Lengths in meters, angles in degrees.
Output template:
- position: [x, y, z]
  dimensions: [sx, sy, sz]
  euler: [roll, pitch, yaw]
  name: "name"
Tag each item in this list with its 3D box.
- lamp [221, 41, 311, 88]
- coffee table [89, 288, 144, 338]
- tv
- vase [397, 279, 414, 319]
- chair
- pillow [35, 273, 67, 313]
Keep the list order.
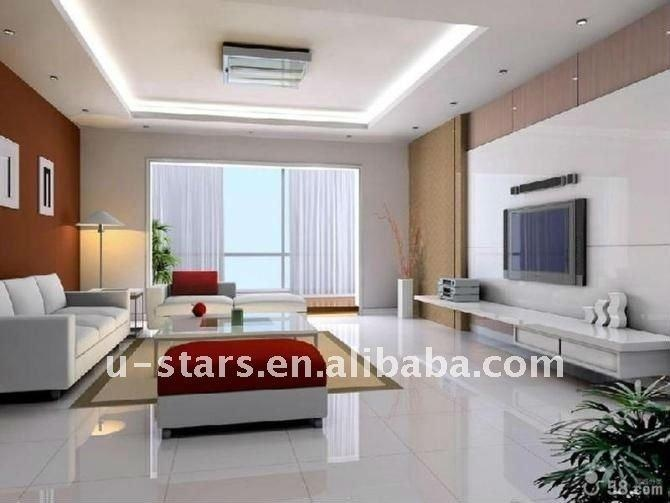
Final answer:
- position: [-0.781, -2.099, 5.650]
  dimensions: [0.961, 0.240, 0.764]
  euler: [-1, 4, -11]
  name: "lamp"
- position: [-3.088, 0.839, 7.323]
  dimensions: [0.848, 0.871, 0.727]
  euler: [1, 3, -5]
  name: "coffee table"
- position: [2.242, -0.080, 5.453]
  dimensions: [0.115, 0.846, 1.172]
  euler: [1, 0, -20]
  name: "tv"
- position: [1.169, 0.771, 8.198]
  dimensions: [0.251, 0.633, 0.261]
  euler: [-1, 3, -6]
  name: "vase"
- position: [-1.959, 0.652, 6.952]
  dimensions: [1.314, 0.743, 1.197]
  euler: [1, 1, -30]
  name: "chair"
- position: [-3.149, 0.468, 5.544]
  dimensions: [0.127, 0.274, 0.373]
  euler: [-2, 6, -8]
  name: "pillow"
